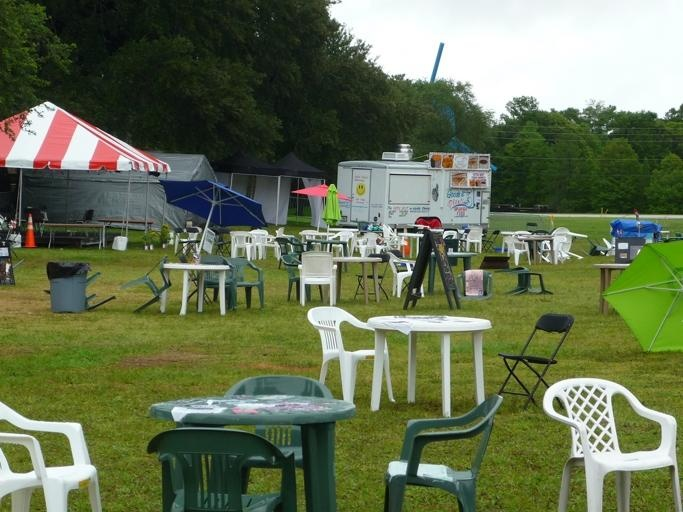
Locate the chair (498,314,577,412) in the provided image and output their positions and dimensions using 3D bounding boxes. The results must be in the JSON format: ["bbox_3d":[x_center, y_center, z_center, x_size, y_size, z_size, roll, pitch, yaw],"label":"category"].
[{"bbox_3d":[2.565,1.361,16.513,0.972,1.189,0.686,3,1,-41],"label":"chair"}]

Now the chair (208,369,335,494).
[{"bbox_3d":[-0.692,2.080,14.438,1.354,1.520,1.188,0,-13,2],"label":"chair"}]

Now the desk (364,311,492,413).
[{"bbox_3d":[1.147,1.453,16.552,1.496,1.317,1.500,2,1,33],"label":"desk"}]

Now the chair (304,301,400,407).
[{"bbox_3d":[0.084,1.323,16.977,1.074,1.318,1.326,1,0,33],"label":"chair"}]

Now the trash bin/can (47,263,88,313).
[{"bbox_3d":[-4.756,0.471,21.256,0.630,0.901,0.612,-5,12,-17],"label":"trash bin/can"}]

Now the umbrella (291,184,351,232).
[{"bbox_3d":[-0.701,-1.785,34.398,1.542,1.062,1.589,0,2,40],"label":"umbrella"}]

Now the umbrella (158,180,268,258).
[{"bbox_3d":[-2.628,-0.800,24.422,1.805,1.662,1.717,-4,5,-42],"label":"umbrella"}]
